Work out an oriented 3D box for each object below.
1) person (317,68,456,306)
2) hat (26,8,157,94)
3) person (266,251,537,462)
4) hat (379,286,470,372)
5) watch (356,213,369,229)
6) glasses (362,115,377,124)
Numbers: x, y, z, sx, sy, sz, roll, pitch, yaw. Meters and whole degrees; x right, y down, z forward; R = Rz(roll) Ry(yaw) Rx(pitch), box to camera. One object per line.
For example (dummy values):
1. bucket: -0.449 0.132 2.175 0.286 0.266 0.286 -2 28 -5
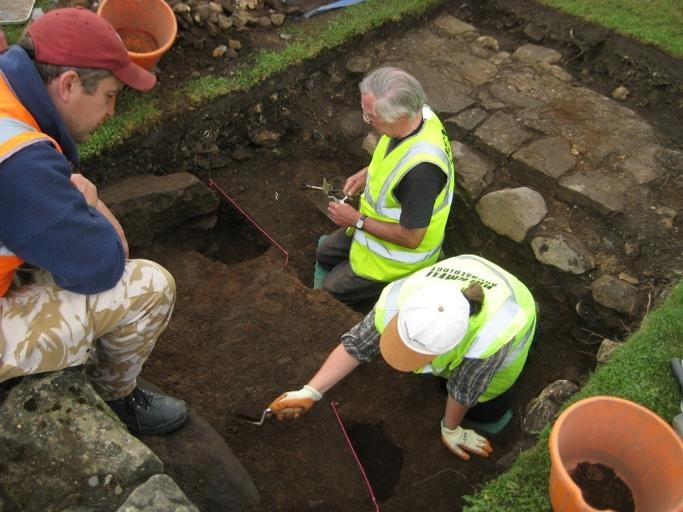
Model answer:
1. person: 0.363 -0.486 5.519 0.812 1.894 0.859 3 62 -1
2. hat: -1.350 -1.132 3.933 0.561 0.268 0.349 15 32 -22
3. person: 0.568 0.602 4.723 1.434 1.320 0.952 10 56 0
4. hat: 0.480 0.395 4.195 0.402 0.210 0.577 36 67 12
5. watch: 0.131 -0.262 5.457 0.067 0.104 0.100 16 25 11
6. glasses: 0.194 -0.951 5.111 0.085 0.026 0.087 3 40 3
